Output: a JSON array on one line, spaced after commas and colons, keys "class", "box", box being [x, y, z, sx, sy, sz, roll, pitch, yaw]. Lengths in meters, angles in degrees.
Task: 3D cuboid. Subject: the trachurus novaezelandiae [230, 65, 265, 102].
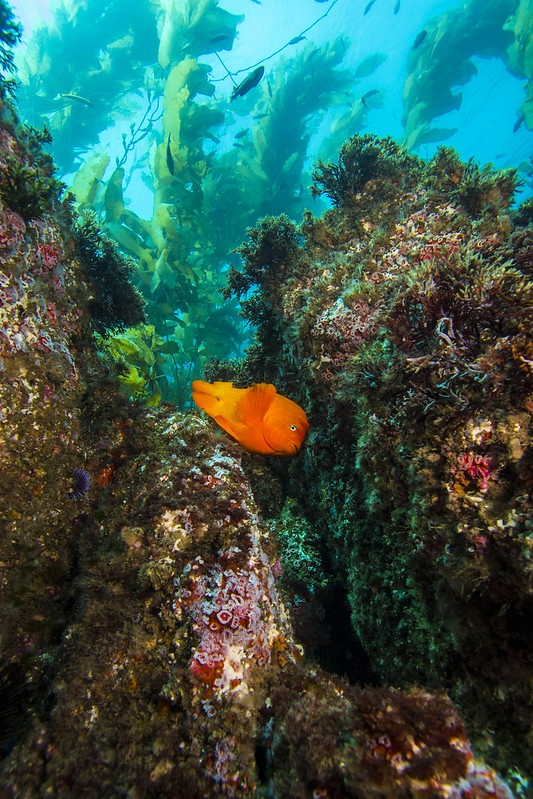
[{"class": "trachurus novaezelandiae", "box": [-0.285, -4.611, 9.058, 0.432, 0.532, 1.025, -2, 42, -2]}]
